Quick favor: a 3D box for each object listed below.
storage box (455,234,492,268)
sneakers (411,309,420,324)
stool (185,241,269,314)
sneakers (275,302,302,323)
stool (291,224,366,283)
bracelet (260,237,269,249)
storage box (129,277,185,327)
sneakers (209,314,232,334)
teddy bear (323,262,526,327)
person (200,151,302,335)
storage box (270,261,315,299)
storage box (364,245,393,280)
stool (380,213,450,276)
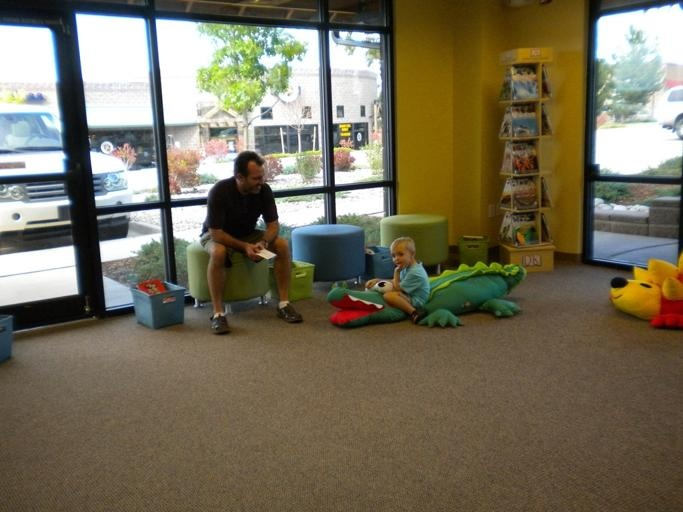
[{"bbox_3d":[1.374,-0.073,5.498,0.294,0.392,0.316,0,9,10],"label":"storage box"},{"bbox_3d":[0.571,0.477,4.172,0.059,0.134,0.046,3,-23,11],"label":"sneakers"},{"bbox_3d":[-1.023,0.196,4.752,0.679,0.586,0.684,-9,-2,1],"label":"stool"},{"bbox_3d":[-0.433,0.477,4.399,0.106,0.102,0.242,-5,5,-36],"label":"sneakers"},{"bbox_3d":[-0.134,-0.046,5.305,0.772,0.504,0.767,-9,13,-31],"label":"stool"},{"bbox_3d":[-0.639,-0.107,4.440,0.063,0.061,0.063,10,23,15],"label":"bracelet"},{"bbox_3d":[-1.531,0.377,4.477,0.348,0.329,0.434,-3,5,-42],"label":"storage box"},{"bbox_3d":[-0.962,0.526,4.240,0.143,0.120,0.264,-7,15,-16],"label":"sneakers"},{"bbox_3d":[0.686,0.336,4.270,1.158,0.348,0.671,-2,2,-7],"label":"teddy bear"},{"bbox_3d":[-0.773,-0.153,4.370,0.744,1.360,0.698,-7,15,-15],"label":"person"},{"bbox_3d":[-0.414,0.224,4.902,0.375,0.284,0.301,-10,14,-44],"label":"storage box"},{"bbox_3d":[0.335,0.058,5.230,0.291,0.275,0.283,-8,9,-40],"label":"storage box"},{"bbox_3d":[0.777,-0.135,5.560,0.635,0.544,0.632,-4,10,-15],"label":"stool"}]
